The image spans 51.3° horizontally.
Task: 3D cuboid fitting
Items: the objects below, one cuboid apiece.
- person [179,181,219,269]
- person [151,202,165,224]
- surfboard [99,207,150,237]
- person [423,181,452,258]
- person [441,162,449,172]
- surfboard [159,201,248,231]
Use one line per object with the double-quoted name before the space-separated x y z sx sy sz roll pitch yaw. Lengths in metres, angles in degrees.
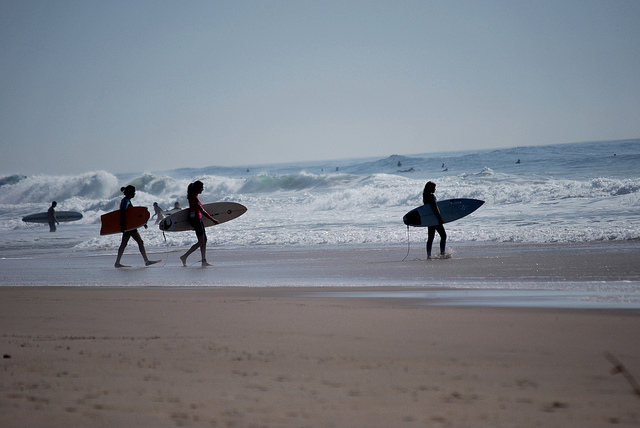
"person" -2.468 0.193 13.497 0.715 1.532 1.067 -2 1 -12
"person" -6.111 -0.045 24.920 0.502 0.947 0.888 -3 -10 -5
"surfboard" -4.211 0.100 14.320 1.683 0.507 0.165 -12 0 32
"person" 2.413 0.094 13.751 0.537 1.125 1.042 -2 1 9
"person" 7.873 -2.978 42.012 0.527 0.553 1.320 8 5 2
"surfboard" -2.710 0.009 15.519 2.452 0.641 0.260 -12 10 -30
